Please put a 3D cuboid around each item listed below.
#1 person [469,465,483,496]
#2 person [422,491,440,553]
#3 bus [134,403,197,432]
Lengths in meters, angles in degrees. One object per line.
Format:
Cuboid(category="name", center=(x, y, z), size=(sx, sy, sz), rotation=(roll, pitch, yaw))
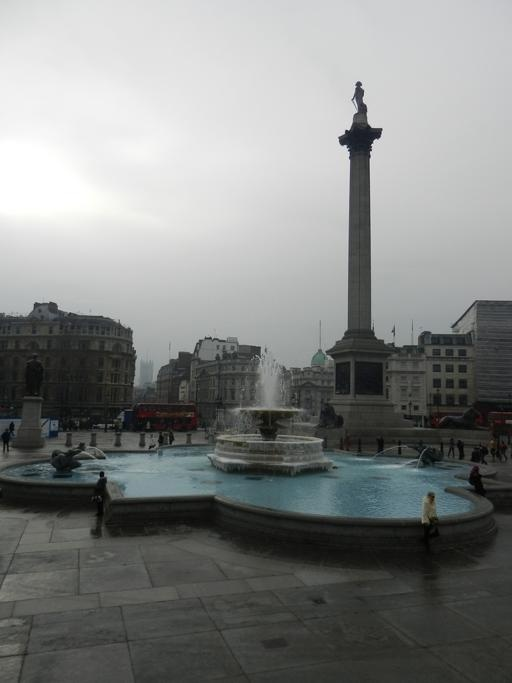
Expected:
Cuboid(category="person", center=(5.895, 3.666, 15.499), size=(0.376, 0.759, 1.360), rotation=(-1, -4, 20))
Cuboid(category="person", center=(3.148, 3.206, 10.510), size=(0.305, 0.998, 0.571), rotation=(0, -5, 16))
Cuboid(category="bus", center=(-9.528, 7.998, 60.876), size=(6.345, 2.858, 1.394), rotation=(2, -5, -23))
